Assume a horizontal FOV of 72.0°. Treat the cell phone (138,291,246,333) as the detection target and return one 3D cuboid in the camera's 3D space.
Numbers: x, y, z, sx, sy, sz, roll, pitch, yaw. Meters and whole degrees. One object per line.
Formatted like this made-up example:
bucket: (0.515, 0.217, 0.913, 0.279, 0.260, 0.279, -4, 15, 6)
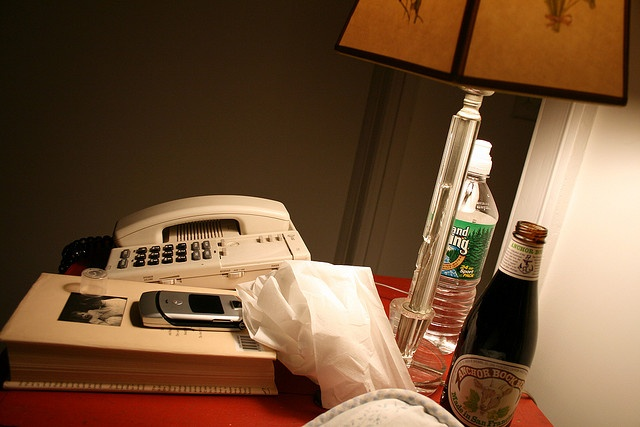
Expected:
cell phone: (-0.207, 0.168, 0.726, 0.135, 0.074, 0.031, 5, -71, -16)
